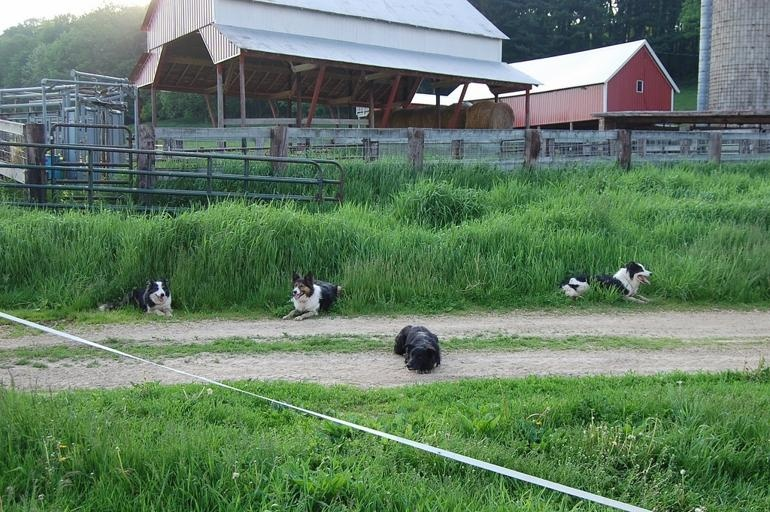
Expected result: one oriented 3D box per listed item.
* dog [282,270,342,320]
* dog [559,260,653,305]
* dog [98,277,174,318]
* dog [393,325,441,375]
[{"bbox_3d":[-2.268,1.317,39.568,1.137,1.676,2.555,0,-3,0],"label":"dog"},{"bbox_3d":[7.054,0.959,40.173,3.019,1.626,1.220,2,7,3],"label":"dog"},{"bbox_3d":[-7.619,1.170,39.583,1.461,1.511,1.704,4,-13,-10],"label":"dog"},{"bbox_3d":[0.915,2.830,37.210,0.993,0.827,1.922,1,3,2],"label":"dog"}]
